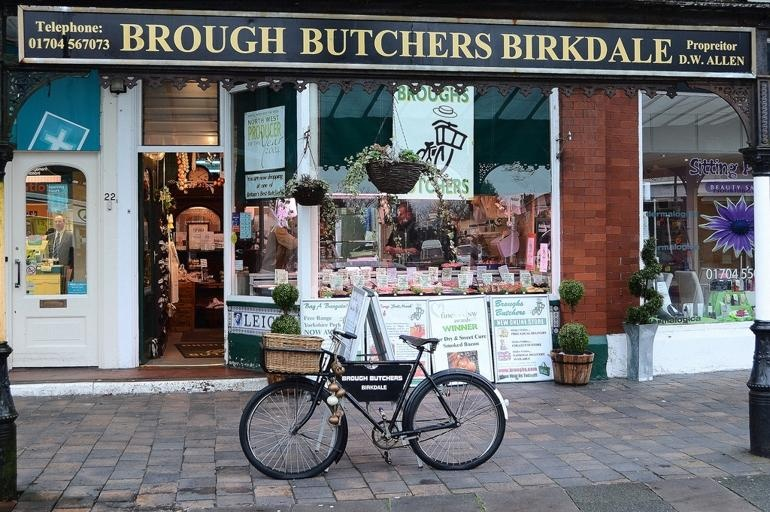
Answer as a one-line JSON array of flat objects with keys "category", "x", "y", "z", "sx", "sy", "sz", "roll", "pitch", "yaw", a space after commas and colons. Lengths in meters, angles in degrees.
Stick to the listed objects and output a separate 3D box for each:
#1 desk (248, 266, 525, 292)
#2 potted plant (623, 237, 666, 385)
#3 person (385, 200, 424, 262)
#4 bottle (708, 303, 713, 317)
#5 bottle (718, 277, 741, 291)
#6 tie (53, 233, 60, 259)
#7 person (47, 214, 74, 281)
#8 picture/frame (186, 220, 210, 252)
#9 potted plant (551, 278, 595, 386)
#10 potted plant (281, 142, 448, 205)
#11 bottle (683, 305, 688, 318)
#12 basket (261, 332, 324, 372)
[{"category": "desk", "x": 0.647, "y": 0.354, "z": 10.567, "sx": 3.047, "sy": 0.413, "sz": 0.193, "roll": -1, "pitch": 10, "yaw": -7}, {"category": "potted plant", "x": 3.811, "y": 0.771, "z": 10.617, "sx": 0.590, "sy": 1.987, "sz": 0.598, "roll": 6, "pitch": -1, "yaw": -31}, {"category": "person", "x": 0.248, "y": -0.354, "z": 10.574, "sx": 0.510, "sy": 0.858, "sz": 0.169, "roll": -1, "pitch": 9, "yaw": -4}, {"category": "bottle", "x": 5.014, "y": 0.833, "z": 11.158, "sx": 0.119, "sy": 0.191, "sz": 0.059, "roll": -5, "pitch": 10, "yaw": -26}, {"category": "bottle", "x": 5.345, "y": 0.446, "z": 11.295, "sx": 0.241, "sy": 0.169, "sz": 0.248, "roll": 0, "pitch": 1, "yaw": 0}, {"category": "tie", "x": -4.839, "y": -0.140, "z": 10.668, "sx": 0.092, "sy": 0.374, "sz": 0.100, "roll": -3, "pitch": 10, "yaw": -14}, {"category": "person", "x": -4.765, "y": -0.121, "z": 10.687, "sx": 0.392, "sy": 0.958, "sz": 0.195, "roll": 3, "pitch": 10, "yaw": 18}, {"category": "picture/frame", "x": -4.357, "y": -0.431, "z": 16.839, "sx": 0.739, "sy": 1.035, "sz": 0.099, "roll": -4, "pitch": -39, "yaw": -8}, {"category": "potted plant", "x": 2.689, "y": 1.074, "z": 10.444, "sx": 0.569, "sy": 1.467, "sz": 0.565, "roll": 1, "pitch": 10, "yaw": 9}, {"category": "potted plant", "x": -0.277, "y": -1.084, "z": 9.956, "sx": 2.365, "sy": 0.974, "sz": 0.910, "roll": 0, "pitch": -1, "yaw": 7}, {"category": "bottle", "x": 4.595, "y": 0.831, "z": 11.051, "sx": 0.097, "sy": 0.198, "sz": 0.053, "roll": 0, "pitch": 9, "yaw": 4}, {"category": "basket", "x": -0.939, "y": 0.978, "z": 7.367, "sx": 0.495, "sy": 0.323, "sz": 0.380, "roll": 3, "pitch": -2, "yaw": -6}]
